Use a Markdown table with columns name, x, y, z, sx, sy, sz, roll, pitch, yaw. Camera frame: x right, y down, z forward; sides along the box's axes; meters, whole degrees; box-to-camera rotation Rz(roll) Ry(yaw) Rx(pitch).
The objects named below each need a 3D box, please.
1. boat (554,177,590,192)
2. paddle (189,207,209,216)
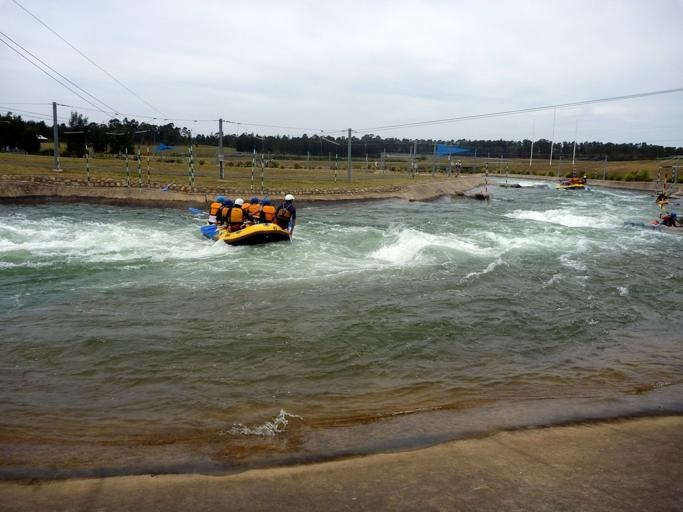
| name | x | y | z | sx | sy | sz | roll | pitch | yaw |
| --- | --- | --- | --- | --- | --- | --- | --- | --- | --- |
| boat | 21.495 | -6.548 | 47.339 | 2.771 | 0.923 | 3.376 | 3 | 9 | 24 |
| paddle | -6.594 | -2.061 | 23.499 | 0.609 | 0.312 | 3.885 | -1 | 8 | -16 |
